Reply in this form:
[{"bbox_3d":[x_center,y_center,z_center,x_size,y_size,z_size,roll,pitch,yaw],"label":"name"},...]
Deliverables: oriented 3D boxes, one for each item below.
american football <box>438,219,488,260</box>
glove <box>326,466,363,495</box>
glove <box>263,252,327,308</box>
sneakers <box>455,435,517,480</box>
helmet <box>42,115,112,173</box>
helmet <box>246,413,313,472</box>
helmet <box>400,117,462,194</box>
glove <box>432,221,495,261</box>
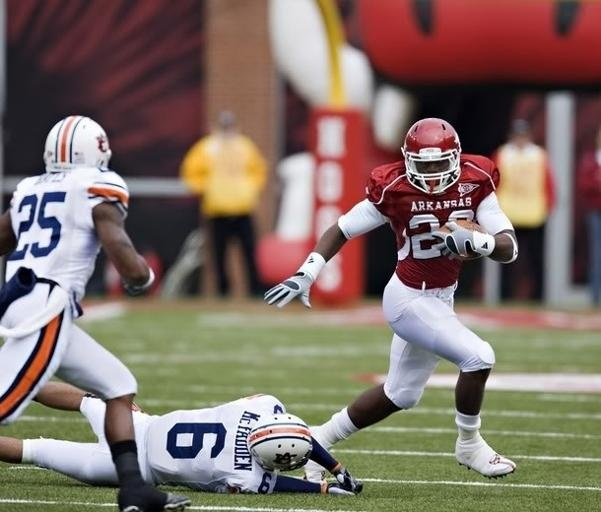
[{"bbox_3d":[0.678,-0.077,4.254,0.188,0.091,0.147,10,20,22],"label":"american football"},{"bbox_3d":[0.180,0.941,4.202,0.197,0.135,0.069,-1,-3,7],"label":"glove"},{"bbox_3d":[-0.026,0.150,4.365,0.168,0.100,0.298,23,49,17],"label":"glove"},{"bbox_3d":[0.774,0.831,4.319,0.278,0.204,0.104,11,14,41],"label":"sneakers"},{"bbox_3d":[-0.886,-0.432,4.072,0.219,0.263,0.276,4,3,13],"label":"helmet"},{"bbox_3d":[-0.083,0.747,4.062,0.229,0.238,0.296,-1,-19,-10],"label":"helmet"},{"bbox_3d":[0.576,-0.466,4.453,0.270,0.269,0.335,-2,29,14],"label":"helmet"},{"bbox_3d":[0.692,-0.050,4.333,0.204,0.136,0.281,12,7,0],"label":"glove"}]
